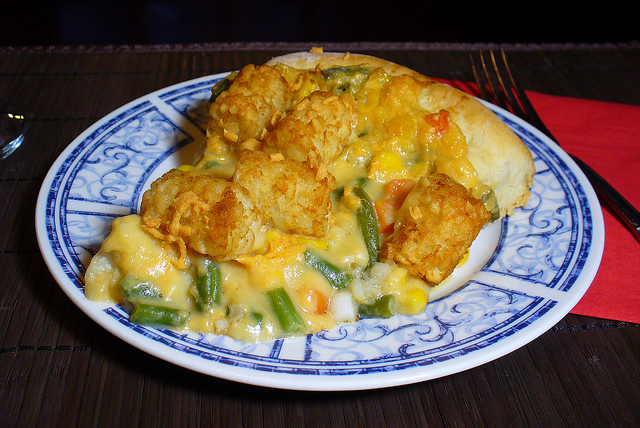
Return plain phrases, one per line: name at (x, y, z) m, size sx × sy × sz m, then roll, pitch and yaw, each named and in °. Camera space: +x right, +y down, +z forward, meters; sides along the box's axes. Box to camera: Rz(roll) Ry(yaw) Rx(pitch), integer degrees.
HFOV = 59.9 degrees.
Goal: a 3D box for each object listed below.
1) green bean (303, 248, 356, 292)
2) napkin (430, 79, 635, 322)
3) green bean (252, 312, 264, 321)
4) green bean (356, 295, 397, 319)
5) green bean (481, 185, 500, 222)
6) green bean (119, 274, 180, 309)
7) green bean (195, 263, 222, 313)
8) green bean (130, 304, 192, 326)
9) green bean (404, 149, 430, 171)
green bean at (0.042, 0.348, 3.409) m, size 0.346 × 0.127 × 0.132 m, roll 28°, pitch 76°, yaw 4°
napkin at (1.482, -0.050, 3.864) m, size 1.973 × 0.016 × 2.191 m, roll 7°, pitch 39°, yaw 7°
green bean at (-0.364, 0.595, 3.247) m, size 0.068 × 0.008 × 0.043 m, roll 15°, pitch 75°, yaw 1°
green bean at (0.343, 0.563, 3.381) m, size 0.228 × 0.090 × 0.122 m, roll -6°, pitch 58°, yaw 15°
green bean at (1.183, -0.071, 3.819) m, size 0.171 × 0.075 × 0.196 m, roll 7°, pitch 80°, yaw -33°
green bean at (-0.973, 0.469, 3.233) m, size 0.327 × 0.086 × 0.168 m, roll 28°, pitch 56°, yaw -21°
green bean at (-0.634, 0.420, 3.195) m, size 0.140 × 0.090 × 0.272 m, roll -5°, pitch 85°, yaw -10°
green bean at (-0.904, 0.584, 3.161) m, size 0.315 × 0.089 × 0.110 m, roll 8°, pitch 53°, yaw -29°
green bean at (0.664, -0.371, 3.781) m, size 0.156 × 0.120 × 0.058 m, roll -36°, pitch 91°, yaw 1°
